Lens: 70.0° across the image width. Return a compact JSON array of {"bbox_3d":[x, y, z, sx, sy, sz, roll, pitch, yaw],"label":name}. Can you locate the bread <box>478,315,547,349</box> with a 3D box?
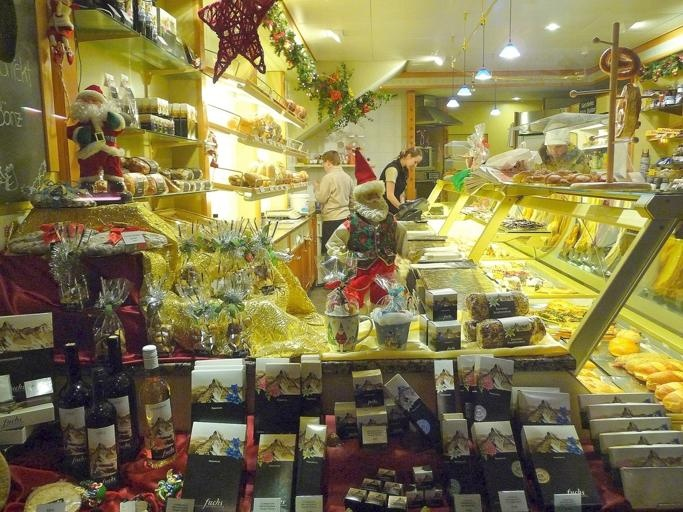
[{"bbox_3d":[0.617,0.279,1.747,0.218,0.108,0.105,-6,30,-6],"label":"bread"}]

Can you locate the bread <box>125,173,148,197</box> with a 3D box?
[{"bbox_3d":[-1.087,-0.392,2.632,0.117,0.105,0.116,-1,8,-12],"label":"bread"}]

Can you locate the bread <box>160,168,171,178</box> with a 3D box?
[{"bbox_3d":[-1.116,-0.532,3.104,0.053,0.033,0.054,8,12,25],"label":"bread"}]

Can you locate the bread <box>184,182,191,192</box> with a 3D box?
[{"bbox_3d":[-1.025,-0.471,3.290,0.057,0.054,0.050,-4,14,-45],"label":"bread"}]

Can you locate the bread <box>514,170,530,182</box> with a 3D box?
[{"bbox_3d":[1.062,-0.466,2.875,0.097,0.042,0.073,-14,15,38],"label":"bread"}]

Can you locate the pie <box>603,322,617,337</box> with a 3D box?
[{"bbox_3d":[1.087,0.305,1.969,0.043,0.064,0.076,5,7,42],"label":"pie"}]

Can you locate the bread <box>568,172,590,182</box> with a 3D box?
[{"bbox_3d":[1.107,-0.362,2.256,0.064,0.033,0.100,1,7,6],"label":"bread"}]

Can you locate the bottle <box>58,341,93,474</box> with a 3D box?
[{"bbox_3d":[-0.869,0.498,1.590,0.129,0.450,0.078,5,6,43],"label":"bottle"}]

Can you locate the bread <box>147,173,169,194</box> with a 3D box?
[{"bbox_3d":[-1.073,-0.427,2.869,0.127,0.113,0.116,-1,-28,-34],"label":"bread"}]

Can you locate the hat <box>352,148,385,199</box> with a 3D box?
[{"bbox_3d":[0.229,-0.758,4.493,0.324,0.477,0.321,-12,4,4],"label":"hat"}]

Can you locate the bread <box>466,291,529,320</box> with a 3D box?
[{"bbox_3d":[0.585,0.185,1.804,0.203,0.089,0.100,-5,13,-12],"label":"bread"}]

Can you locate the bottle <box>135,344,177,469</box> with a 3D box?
[{"bbox_3d":[-0.640,0.497,1.655,0.172,0.416,0.099,4,6,34],"label":"bottle"}]

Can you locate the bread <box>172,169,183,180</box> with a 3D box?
[{"bbox_3d":[-1.096,-0.552,3.271,0.071,0.078,0.074,1,11,-23],"label":"bread"}]

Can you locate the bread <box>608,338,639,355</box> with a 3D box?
[{"bbox_3d":[1.133,0.359,1.943,0.083,0.078,0.079,15,-13,-40],"label":"bread"}]

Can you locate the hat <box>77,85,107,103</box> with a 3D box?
[{"bbox_3d":[-1.180,-0.756,2.309,0.123,0.078,0.121,8,14,-15],"label":"hat"}]

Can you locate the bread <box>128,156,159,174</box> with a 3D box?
[{"bbox_3d":[-1.148,-0.524,2.808,0.139,0.053,0.112,16,16,38],"label":"bread"}]

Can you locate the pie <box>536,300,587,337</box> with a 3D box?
[{"bbox_3d":[0.991,0.278,2.179,0.154,0.040,0.168,1,27,42],"label":"pie"}]

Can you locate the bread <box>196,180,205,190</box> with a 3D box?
[{"bbox_3d":[-1.004,-0.510,3.486,0.051,0.066,0.062,-6,17,9],"label":"bread"}]

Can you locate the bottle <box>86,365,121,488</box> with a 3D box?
[{"bbox_3d":[-0.765,0.556,1.566,0.098,0.386,0.078,0,5,-10],"label":"bottle"}]
